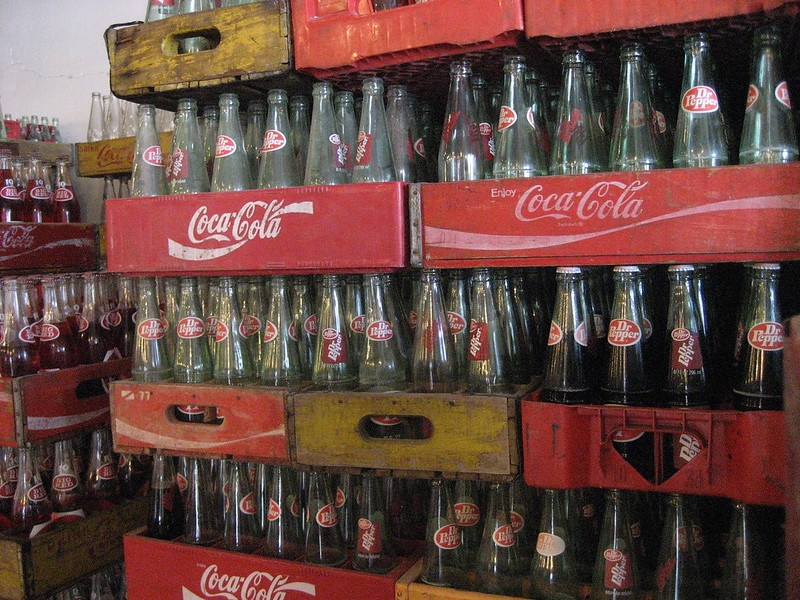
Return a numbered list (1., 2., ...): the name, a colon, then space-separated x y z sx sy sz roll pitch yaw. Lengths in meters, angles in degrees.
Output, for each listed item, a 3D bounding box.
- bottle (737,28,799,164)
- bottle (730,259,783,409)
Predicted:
1. bottle: 0.852 -0.474 1.970 0.130 0.308 0.233 -2 8 17
2. bottle: 0.812 0.078 1.937 0.101 0.324 0.141 -1 8 22
